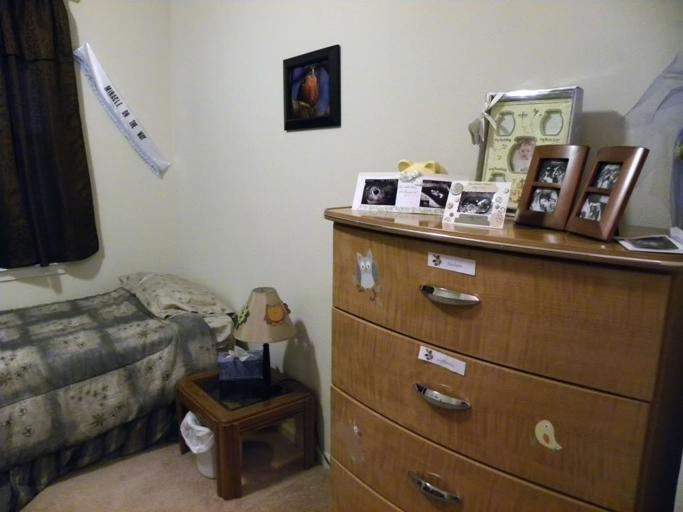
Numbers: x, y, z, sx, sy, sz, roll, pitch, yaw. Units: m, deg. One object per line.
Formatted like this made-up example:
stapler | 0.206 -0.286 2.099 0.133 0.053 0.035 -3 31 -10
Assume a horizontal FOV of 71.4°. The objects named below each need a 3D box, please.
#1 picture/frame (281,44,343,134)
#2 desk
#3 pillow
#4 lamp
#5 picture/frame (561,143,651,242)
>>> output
picture/frame | -0.137 -0.869 2.441 0.473 0.511 0.053 5 8 40
desk | -0.456 0.824 2.533 0.567 0.451 0.565 -4 9 -43
pillow | -1.119 0.238 3.102 0.361 0.117 0.551 3 15 -43
lamp | -0.411 0.479 2.561 0.335 0.602 0.339 -4 5 -28
picture/frame | 0.769 -0.187 1.368 0.214 0.251 0.158 -13 21 -40
